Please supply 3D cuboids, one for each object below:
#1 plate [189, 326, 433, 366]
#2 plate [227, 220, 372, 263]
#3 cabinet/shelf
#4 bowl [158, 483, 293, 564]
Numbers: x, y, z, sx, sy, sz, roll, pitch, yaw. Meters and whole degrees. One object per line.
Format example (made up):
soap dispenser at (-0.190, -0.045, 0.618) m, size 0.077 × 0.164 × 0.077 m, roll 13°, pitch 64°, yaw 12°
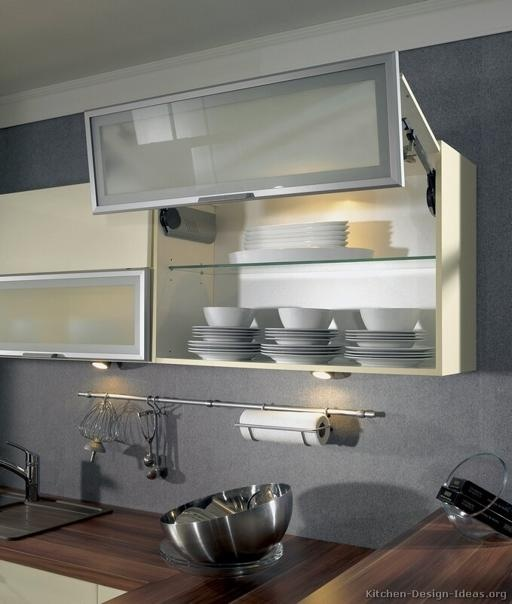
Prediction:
plate at (0.149, 0.109, 1.434) m, size 0.637 × 0.115 × 0.291 m, roll -5°, pitch -5°, yaw 26°
plate at (0.106, -0.152, 1.410) m, size 0.373 × 0.118 × 0.090 m, roll -4°, pitch -5°, yaw 17°
cabinet/shelf at (-0.039, -0.099, 1.567) m, size 1.223 × 0.628 × 0.386 m, roll -5°, pitch -5°, yaw 32°
bowl at (-0.054, 0.557, 1.351) m, size 0.318 × 0.144 × 0.307 m, roll -10°, pitch -7°, yaw -1°
